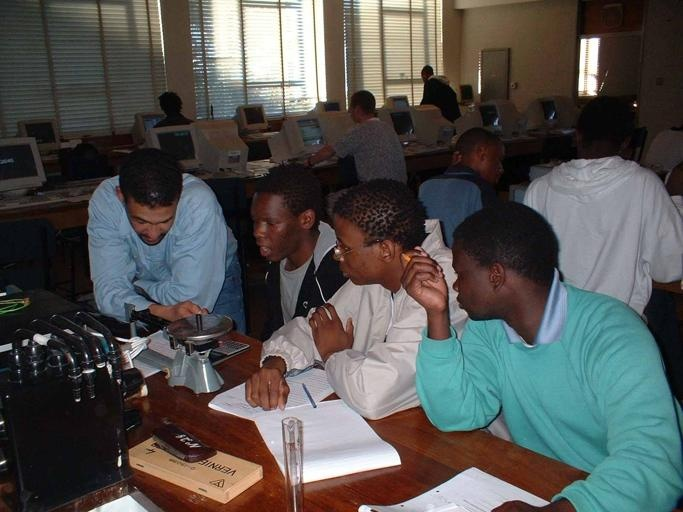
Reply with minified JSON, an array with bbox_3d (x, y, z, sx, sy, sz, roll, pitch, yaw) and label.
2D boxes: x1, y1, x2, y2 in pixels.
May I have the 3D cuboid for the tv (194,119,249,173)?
[{"bbox_3d":[-1.259,-1.140,5.316,0.583,0.459,0.594,3,29,-17],"label":"tv"}]

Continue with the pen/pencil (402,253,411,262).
[{"bbox_3d":[0.199,0.005,1.563,0.020,0.010,0.026,0,12,3],"label":"pen/pencil"}]

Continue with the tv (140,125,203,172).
[{"bbox_3d":[-1.740,-1.124,5.164,0.476,0.432,0.380,-21,30,-37],"label":"tv"}]

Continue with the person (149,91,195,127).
[{"bbox_3d":[-2.008,-1.758,5.945,0.340,0.403,1.421,-11,18,-17],"label":"person"}]

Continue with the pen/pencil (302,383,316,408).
[{"bbox_3d":[-0.102,0.428,1.544,0.019,0.010,0.096,20,8,-27],"label":"pen/pencil"}]

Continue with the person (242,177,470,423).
[{"bbox_3d":[0.111,0.138,1.723,0.881,0.739,0.670,-9,13,-19],"label":"person"}]

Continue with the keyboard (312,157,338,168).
[{"bbox_3d":[-0.189,-0.997,5.393,0.212,0.057,0.240,-4,9,37],"label":"keyboard"}]

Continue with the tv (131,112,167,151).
[{"bbox_3d":[-2.674,-1.823,7.079,0.414,0.430,0.314,-23,39,-39],"label":"tv"}]
